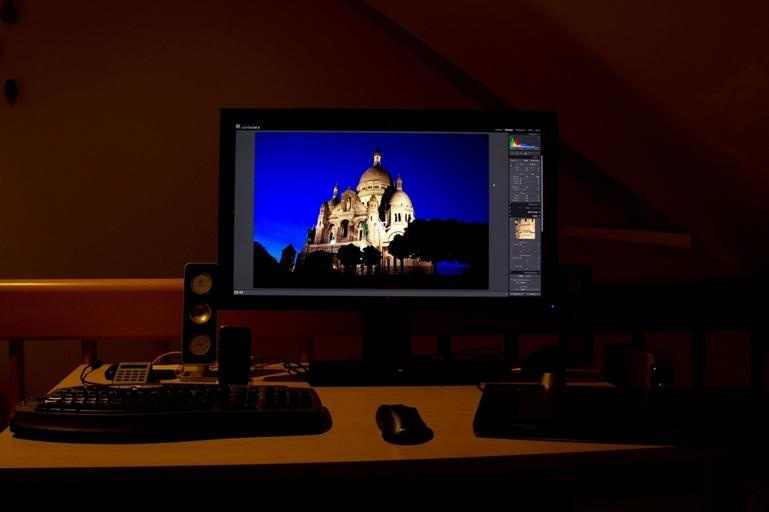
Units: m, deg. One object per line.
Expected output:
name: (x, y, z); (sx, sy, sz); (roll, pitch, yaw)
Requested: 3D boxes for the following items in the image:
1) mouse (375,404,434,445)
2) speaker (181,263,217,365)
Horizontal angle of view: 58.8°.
mouse: (0.054, 0.478, 1.927); (0.128, 0.040, 0.092); (11, 8, 29)
speaker: (-0.600, 0.187, 2.215); (0.112, 0.327, 0.091); (3, -4, -15)
